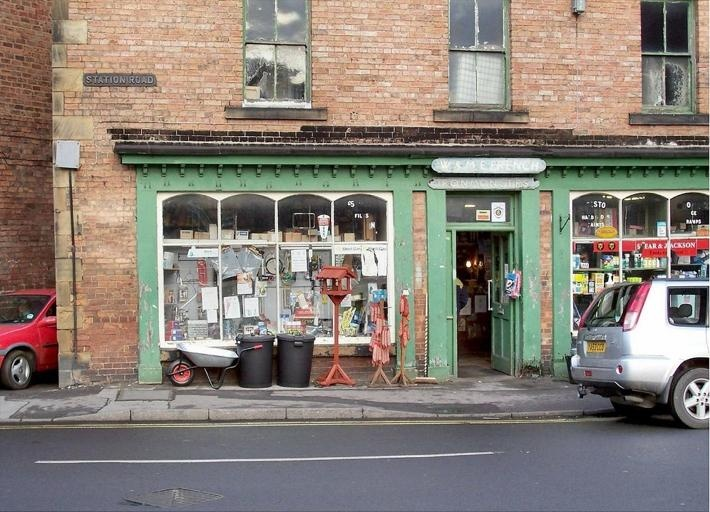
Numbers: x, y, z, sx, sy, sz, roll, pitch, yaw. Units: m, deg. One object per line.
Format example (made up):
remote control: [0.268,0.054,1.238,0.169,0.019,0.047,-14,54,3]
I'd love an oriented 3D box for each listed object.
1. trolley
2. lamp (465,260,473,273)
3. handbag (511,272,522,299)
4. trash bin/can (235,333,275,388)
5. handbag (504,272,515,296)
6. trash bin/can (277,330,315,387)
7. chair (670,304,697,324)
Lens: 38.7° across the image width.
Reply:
trolley: [-2.946,2.269,20.805,1.807,0.930,0.875,4,0,-9]
lamp: [2.960,0.286,25.942,0.219,0.418,0.226,0,4,-3]
handbag: [3.509,0.635,21.820,0.121,0.484,0.299,10,-5,-33]
trash bin/can: [-2.076,2.155,20.989,0.904,1.053,1.001,1,1,-6]
handbag: [3.377,0.614,21.957,0.114,0.402,0.392,11,-13,-23]
trash bin/can: [-1.214,2.130,20.623,0.918,1.077,0.964,1,-1,-8]
chair: [5.732,1.036,17.614,0.323,0.407,0.399,-3,0,17]
